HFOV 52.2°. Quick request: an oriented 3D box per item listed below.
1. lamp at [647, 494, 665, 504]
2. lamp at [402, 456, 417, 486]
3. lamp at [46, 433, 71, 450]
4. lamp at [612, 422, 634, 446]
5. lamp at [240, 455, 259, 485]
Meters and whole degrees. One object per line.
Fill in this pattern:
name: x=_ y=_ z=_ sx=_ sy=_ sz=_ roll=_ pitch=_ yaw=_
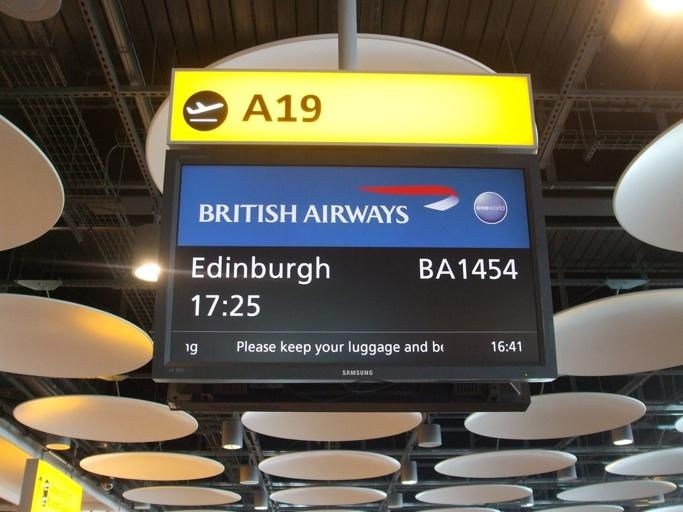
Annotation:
lamp: x=8.042 y=6.204 z=17.616 sx=0.359 sy=0.236 sz=1.312 roll=-12 pitch=-32 yaw=19
lamp: x=1.365 y=4.303 z=13.810 sx=0.267 sy=0.515 sz=0.980 roll=-5 pitch=-30 yaw=8
lamp: x=-4.196 y=2.734 z=10.235 sx=0.285 sy=0.184 sz=0.450 roll=6 pitch=-31 yaw=-10
lamp: x=4.538 y=2.853 z=11.157 sx=0.291 sy=0.325 sz=0.470 roll=-10 pitch=-32 yaw=16
lamp: x=-1.784 y=4.197 z=13.423 sx=0.291 sy=0.370 sz=0.416 roll=-2 pitch=-30 yaw=4
